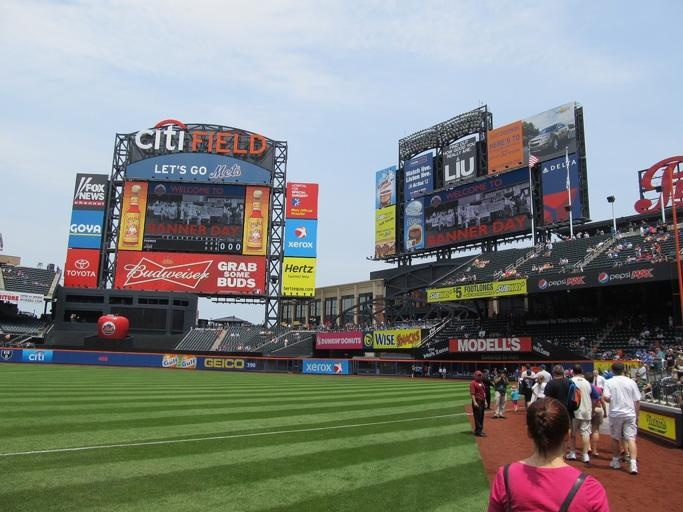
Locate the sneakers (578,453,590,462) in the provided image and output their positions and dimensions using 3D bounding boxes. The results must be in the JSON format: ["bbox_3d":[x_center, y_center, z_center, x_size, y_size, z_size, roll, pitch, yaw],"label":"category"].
[{"bbox_3d":[5.442,4.518,14.713,0.157,0.162,0.409,3,4,12],"label":"sneakers"}]

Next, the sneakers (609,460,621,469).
[{"bbox_3d":[5.887,4.512,14.159,0.133,0.184,0.292,0,-3,14],"label":"sneakers"}]

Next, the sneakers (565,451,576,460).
[{"bbox_3d":[5.171,4.549,14.892,0.152,0.229,0.362,3,-2,1],"label":"sneakers"}]

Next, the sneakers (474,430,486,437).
[{"bbox_3d":[3.677,4.699,17.295,0.217,0.129,0.411,-4,-11,36],"label":"sneakers"}]
